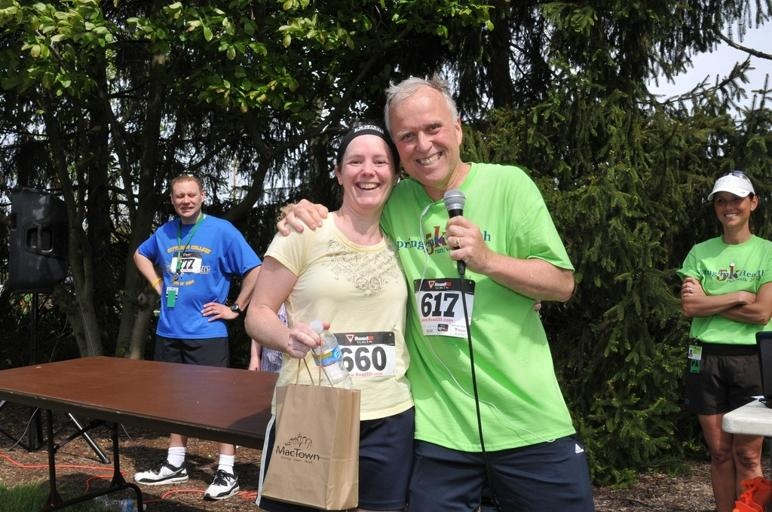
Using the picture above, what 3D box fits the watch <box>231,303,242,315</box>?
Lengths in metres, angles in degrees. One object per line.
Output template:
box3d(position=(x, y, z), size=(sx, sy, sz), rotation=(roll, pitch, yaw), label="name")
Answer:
box3d(position=(-1.600, 0.561, 7.902), size=(0.102, 0.068, 0.101), rotation=(33, -16, 44), label="watch")

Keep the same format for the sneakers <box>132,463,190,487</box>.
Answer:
box3d(position=(-2.300, 2.251, 7.638), size=(0.549, 0.248, 0.223), rotation=(4, -12, -6), label="sneakers")

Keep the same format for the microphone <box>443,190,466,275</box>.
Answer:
box3d(position=(0.470, -0.156, 4.814), size=(0.168, 0.572, 0.144), rotation=(0, -6, -20), label="microphone")

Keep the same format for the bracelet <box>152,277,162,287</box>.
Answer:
box3d(position=(-2.526, 0.285, 8.146), size=(0.087, 0.067, 0.085), rotation=(9, -13, -42), label="bracelet")
